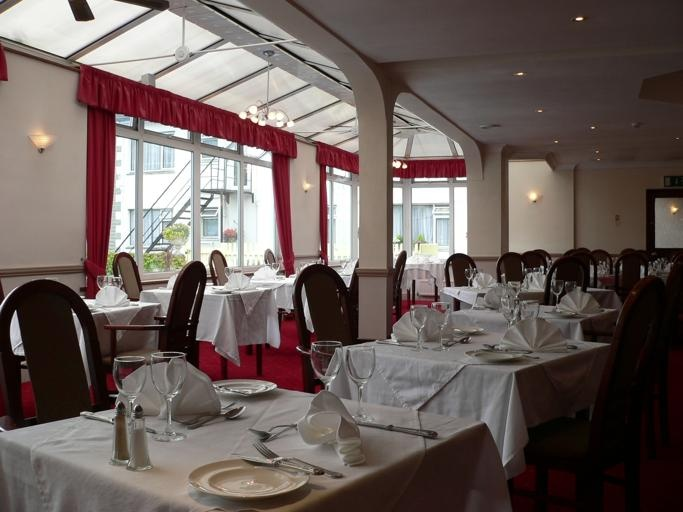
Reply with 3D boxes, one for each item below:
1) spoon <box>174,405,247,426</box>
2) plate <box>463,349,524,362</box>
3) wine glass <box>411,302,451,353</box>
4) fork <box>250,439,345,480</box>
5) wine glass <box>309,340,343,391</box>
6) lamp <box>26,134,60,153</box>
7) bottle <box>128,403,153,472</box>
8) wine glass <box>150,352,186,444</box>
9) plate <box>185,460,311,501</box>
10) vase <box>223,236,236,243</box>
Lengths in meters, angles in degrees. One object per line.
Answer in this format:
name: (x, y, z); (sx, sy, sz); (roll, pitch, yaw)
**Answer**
spoon: (-0.420, 0.506, 1.610); (0.148, 0.025, 0.028); (-6, 16, -42)
plate: (0.695, 0.460, 2.362); (0.251, 0.025, 0.236); (1, 2, 27)
wine glass: (0.460, 0.382, 2.651); (0.170, 0.222, 0.086); (1, -9, -12)
fork: (-0.107, 0.529, 1.318); (0.248, 0.041, 0.035); (6, 6, 43)
wine glass: (-0.052, 0.367, 1.708); (0.095, 0.182, 0.176); (0, 2, -4)
lamp: (-3.468, -1.326, 5.958); (0.202, 0.183, 0.208); (-2, -1, 11)
bottle: (-0.511, 0.455, 1.289); (0.074, 0.162, 0.039); (1, 3, 18)
wine glass: (-0.510, 0.399, 1.518); (0.094, 0.246, 0.242); (-1, 2, -20)
plate: (-0.215, 0.528, 1.210); (0.265, 0.040, 0.185); (1, 2, 21)
vase: (-2.059, -0.291, 9.510); (0.078, 0.117, 0.147); (7, 6, 43)
